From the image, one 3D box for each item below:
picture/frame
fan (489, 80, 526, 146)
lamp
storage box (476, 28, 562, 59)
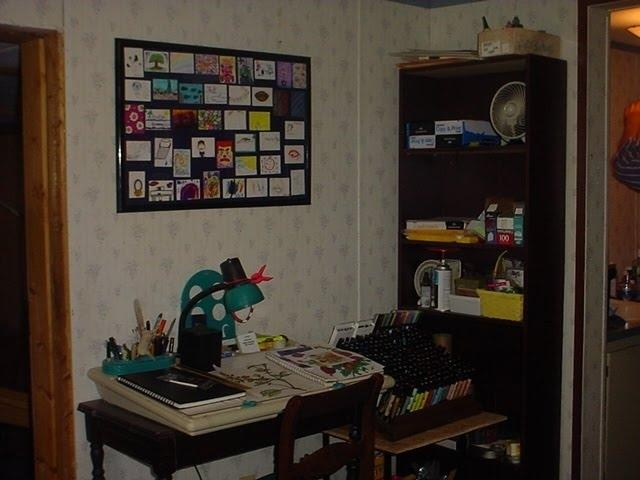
[{"bbox_3d":[-0.627,-0.640,3.064,0.980,0.759,0.044,-2,5,-33],"label":"picture/frame"},{"bbox_3d":[1.232,-0.769,3.422,0.209,0.378,0.314,-1,4,-33],"label":"fan"},{"bbox_3d":[-0.528,0.326,2.971,0.462,0.490,0.507,-3,5,-16],"label":"lamp"},{"bbox_3d":[1.247,-1.147,3.349,0.333,0.124,0.260,8,7,-7],"label":"storage box"}]
